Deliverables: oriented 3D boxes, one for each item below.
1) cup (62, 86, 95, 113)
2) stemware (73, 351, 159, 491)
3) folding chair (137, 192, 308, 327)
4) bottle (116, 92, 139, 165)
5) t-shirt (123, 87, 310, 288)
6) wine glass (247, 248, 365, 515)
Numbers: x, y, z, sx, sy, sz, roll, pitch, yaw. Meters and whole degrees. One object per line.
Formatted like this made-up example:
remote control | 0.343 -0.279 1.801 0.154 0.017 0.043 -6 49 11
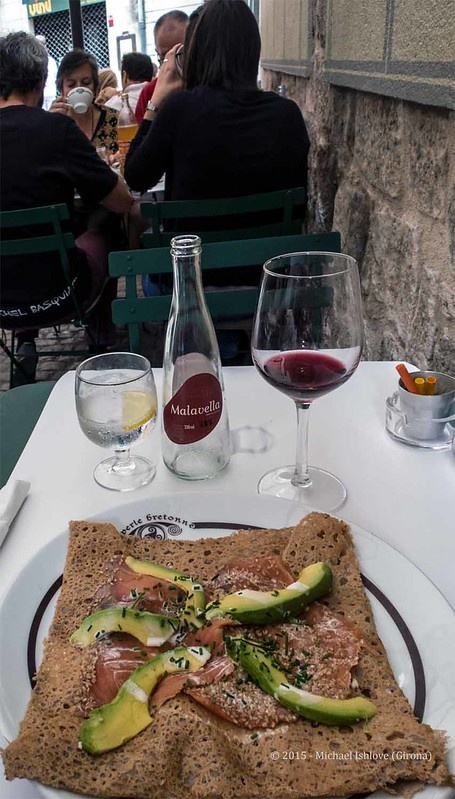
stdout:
cup | -0.905 -1.828 3.613 0.122 0.204 0.109 -2 59 -7
stemware | -0.166 0.025 0.910 0.113 0.204 0.127 13 27 25
folding chair | -0.007 -0.676 2.384 0.740 0.652 0.371 -2 45 0
bottle | -0.560 -1.471 3.298 0.113 0.444 0.116 -2 7 0
t-shirt | -0.061 -0.897 2.508 0.694 0.776 0.575 5 -5 -22
wine glass | 0.113 -0.016 0.865 0.141 0.368 0.144 -5 30 -6
